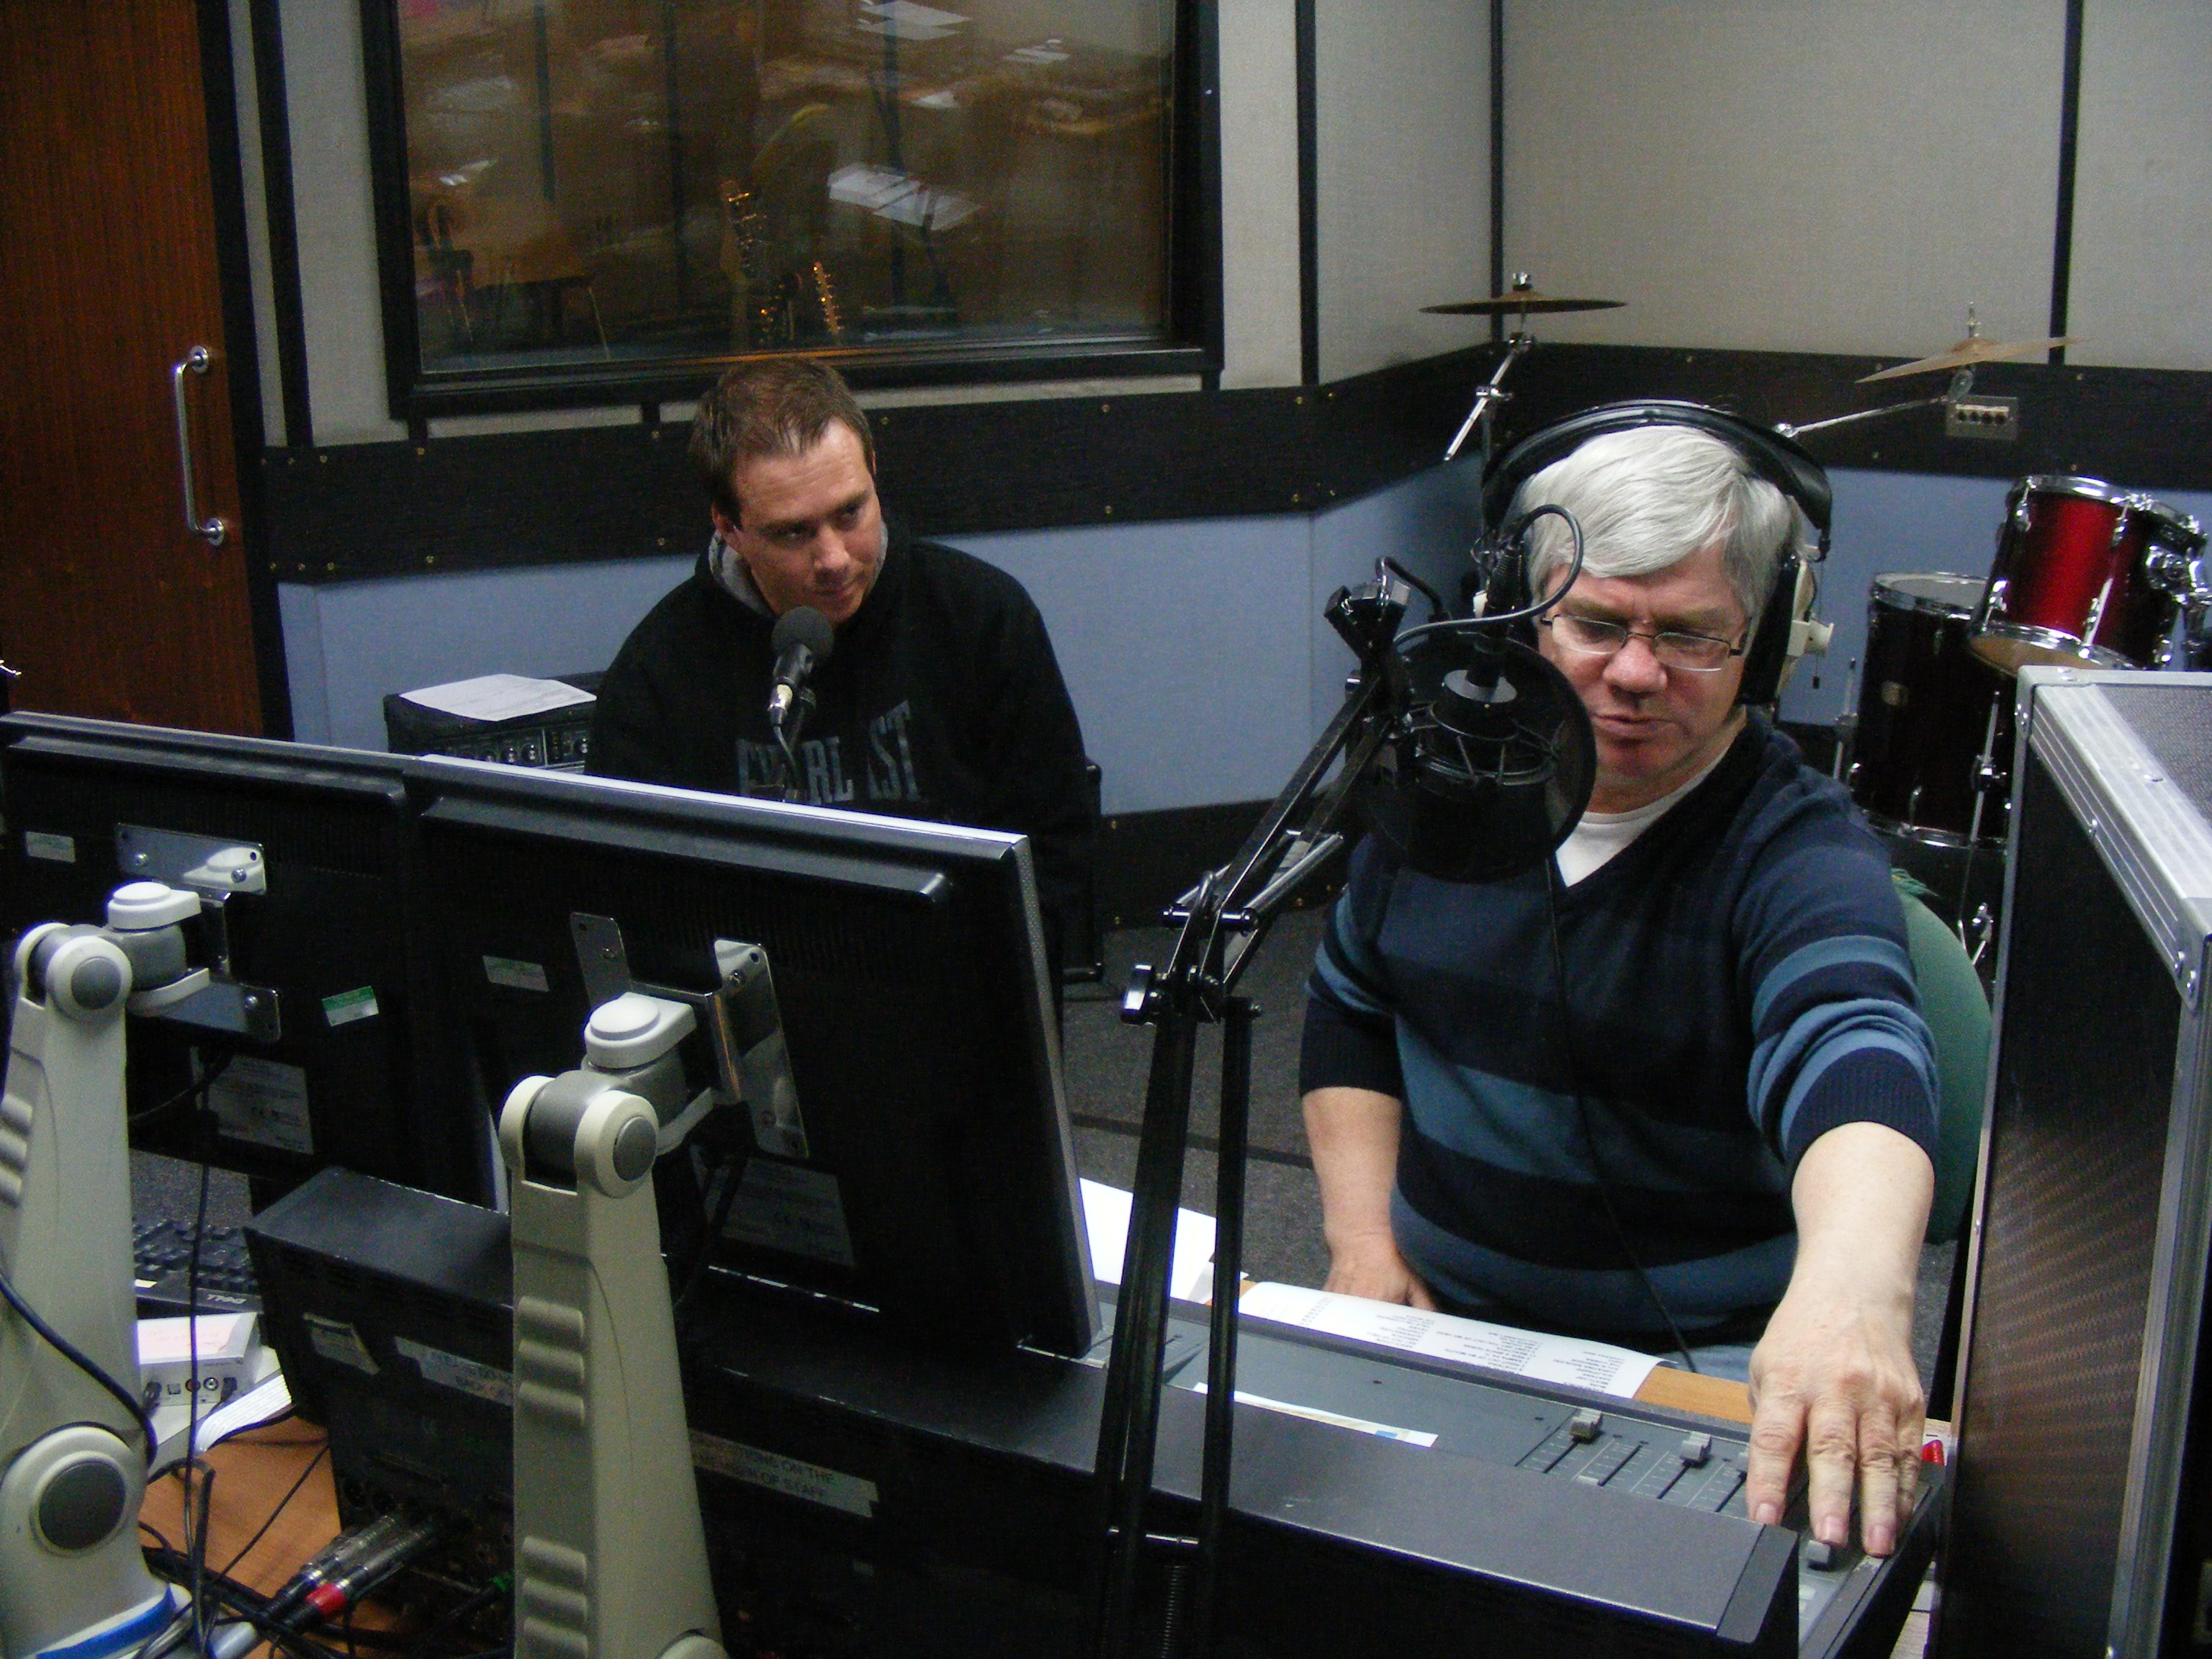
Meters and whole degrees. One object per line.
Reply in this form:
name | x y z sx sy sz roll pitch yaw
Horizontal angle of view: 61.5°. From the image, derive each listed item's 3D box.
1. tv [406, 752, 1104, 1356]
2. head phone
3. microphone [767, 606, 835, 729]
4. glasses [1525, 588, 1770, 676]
tv | -0.271 0.174 1.335 0.527 0.422 0.058 10 24 27
head phone | 0.523 -0.250 1.811 0.353 0.340 0.138 0 -9 23
microphone | -0.340 -0.168 2.030 0.054 0.061 0.193 9 22 -4
glasses | 0.509 -0.191 1.765 0.192 0.069 0.077 3 19 19
